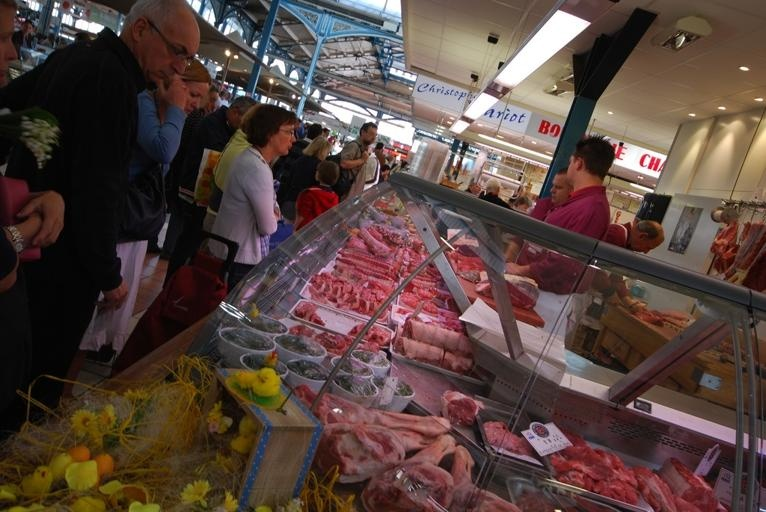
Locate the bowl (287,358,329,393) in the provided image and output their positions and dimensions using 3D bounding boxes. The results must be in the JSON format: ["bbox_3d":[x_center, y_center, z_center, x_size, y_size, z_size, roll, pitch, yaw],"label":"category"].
[{"bbox_3d":[-0.318,0.482,1.853,0.174,0.076,0.171,15,12,-3],"label":"bowl"}]

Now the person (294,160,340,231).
[{"bbox_3d":[-0.654,-0.592,4.672,0.387,0.708,0.714,15,13,-8],"label":"person"}]

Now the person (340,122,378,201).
[{"bbox_3d":[-0.404,-1.385,6.710,0.449,1.134,0.850,16,13,-5],"label":"person"}]

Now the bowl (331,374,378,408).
[{"bbox_3d":[-0.109,0.524,1.828,0.152,0.063,0.125,17,5,-42],"label":"bowl"}]

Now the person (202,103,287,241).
[{"bbox_3d":[-1.120,-0.661,3.347,0.327,0.896,0.699,26,4,-12],"label":"person"}]

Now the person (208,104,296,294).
[{"bbox_3d":[-0.952,-0.365,3.297,0.419,1.390,0.346,13,13,-20],"label":"person"}]

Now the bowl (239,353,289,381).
[{"bbox_3d":[-0.469,0.397,1.814,0.143,0.066,0.147,14,-5,1],"label":"bowl"}]

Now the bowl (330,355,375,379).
[{"bbox_3d":[-0.126,0.447,1.879,0.115,0.048,0.115,25,-2,1],"label":"bowl"}]

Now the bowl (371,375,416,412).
[{"bbox_3d":[0.042,0.551,1.866,0.130,0.055,0.123,13,4,-1],"label":"bowl"}]

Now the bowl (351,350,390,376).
[{"bbox_3d":[-0.053,0.440,1.926,0.121,0.040,0.118,21,11,-4],"label":"bowl"}]
